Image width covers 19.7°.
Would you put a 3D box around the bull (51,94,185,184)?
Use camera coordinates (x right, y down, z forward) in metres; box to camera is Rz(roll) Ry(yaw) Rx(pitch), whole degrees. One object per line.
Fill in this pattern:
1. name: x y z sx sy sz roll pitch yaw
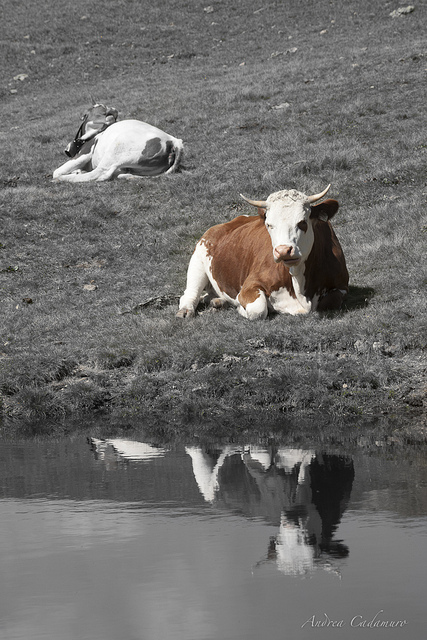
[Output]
1. bull: -1.970 -3.357 24.157 2.457 1.082 2.220 4 15 39

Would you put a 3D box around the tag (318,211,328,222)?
1. tag: 1.215 -1.153 13.540 0.078 0.082 0.022 -1 8 -21
